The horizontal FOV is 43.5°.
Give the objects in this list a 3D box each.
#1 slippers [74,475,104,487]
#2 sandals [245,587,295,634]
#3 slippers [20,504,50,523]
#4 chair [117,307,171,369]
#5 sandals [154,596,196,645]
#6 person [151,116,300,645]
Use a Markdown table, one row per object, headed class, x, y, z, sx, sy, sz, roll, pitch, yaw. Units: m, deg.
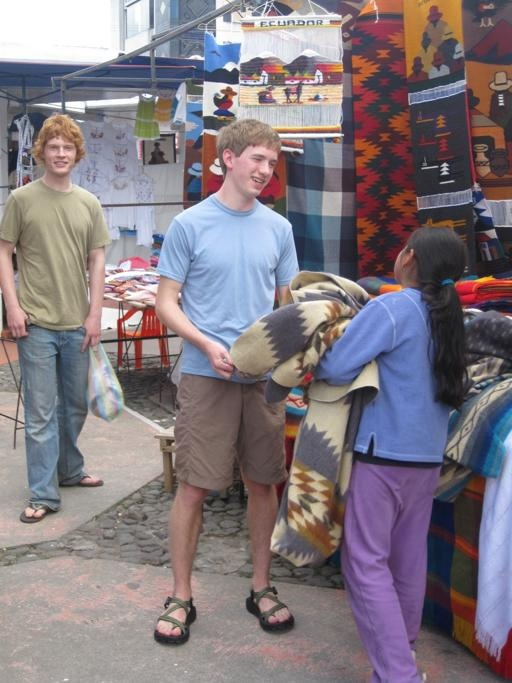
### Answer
| class | x | y | z | sx | sy | sz | roll | pitch | yaw |
| --- | --- | --- | --- | --- | --- | --- | --- | --- | --- |
| slippers | -0.985 | 0.823 | 3.786 | 0.134 | 0.039 | 0.068 | -1 | 7 | 6 |
| sandals | 0.041 | 0.952 | 2.291 | 0.086 | 0.082 | 0.216 | -5 | 3 | -26 |
| slippers | -1.138 | 0.877 | 3.299 | 0.116 | 0.067 | 0.185 | 2 | 3 | 3 |
| chair | -1.160 | -0.066 | 6.477 | 0.475 | 0.563 | 0.415 | -4 | 9 | -23 |
| sandals | -0.279 | 0.945 | 2.161 | 0.074 | 0.070 | 0.191 | 1 | -2 | 5 |
| person | -0.069 | 0.132 | 2.241 | 0.550 | 1.751 | 0.393 | -1 | 6 | -44 |
